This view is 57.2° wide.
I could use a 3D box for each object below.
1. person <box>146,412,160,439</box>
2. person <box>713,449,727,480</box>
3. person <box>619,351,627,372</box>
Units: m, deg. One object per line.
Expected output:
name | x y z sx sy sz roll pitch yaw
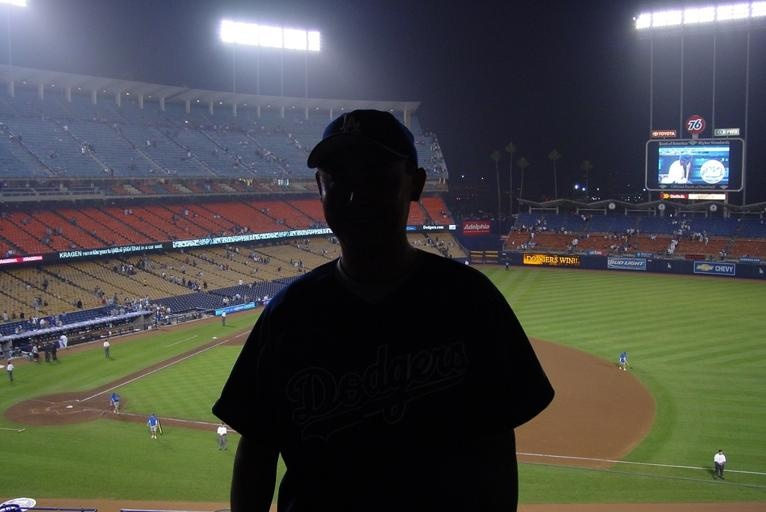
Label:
person | -14.481 10.771 44.597 0.582 1.418 0.815 -3 5 -14
person | 19.929 12.179 41.636 0.681 1.413 1.567 0 5 26
person | 17.889 7.697 52.353 0.581 1.269 1.712 0 5 19
